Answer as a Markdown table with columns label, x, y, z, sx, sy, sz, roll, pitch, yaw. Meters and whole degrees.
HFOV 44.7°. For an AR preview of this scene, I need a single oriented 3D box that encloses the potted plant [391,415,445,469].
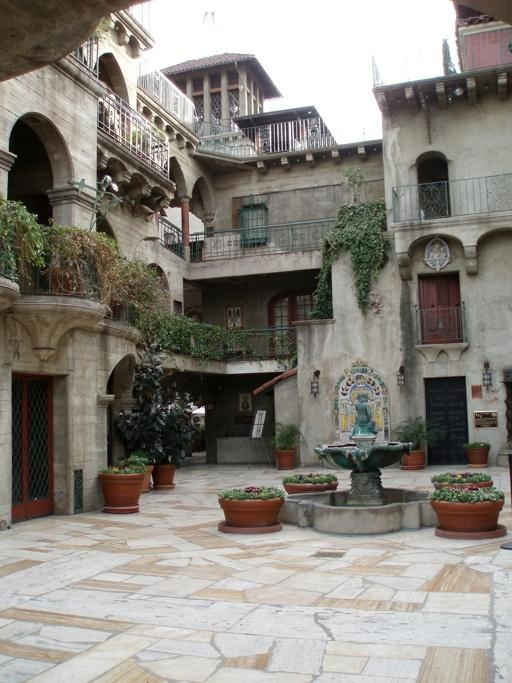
| label | x | y | z | sx | sy | sz | roll | pitch | yaw |
| --- | --- | --- | --- | --- | --- | --- | --- | --- | --- |
| potted plant | 4.687 | 2.872 | 17.748 | 1.357 | 1.396 | 0.937 | -4 | -5 | 11 |

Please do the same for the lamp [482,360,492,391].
| label | x | y | z | sx | sy | sz | roll | pitch | yaw |
| --- | --- | --- | --- | --- | --- | --- | --- | --- | --- |
| lamp | 6.537 | 0.971 | 17.643 | 0.283 | 0.834 | 0.169 | -4 | -6 | 18 |

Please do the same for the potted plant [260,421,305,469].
| label | x | y | z | sx | sy | sz | roll | pitch | yaw |
| --- | --- | --- | --- | --- | --- | --- | --- | --- | --- |
| potted plant | 0.931 | 3.213 | 19.206 | 1.020 | 1.207 | 0.937 | 1 | -15 | 10 |

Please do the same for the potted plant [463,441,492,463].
| label | x | y | z | sx | sy | sz | roll | pitch | yaw |
| --- | --- | --- | --- | --- | --- | --- | --- | --- | --- |
| potted plant | 6.112 | 3.061 | 17.189 | 0.635 | 0.558 | 0.601 | 1 | -15 | 2 |

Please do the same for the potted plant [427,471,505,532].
| label | x | y | z | sx | sy | sz | roll | pitch | yaw |
| --- | --- | --- | --- | --- | --- | --- | --- | --- | --- |
| potted plant | 2.873 | 2.196 | 8.684 | 0.912 | 0.531 | 0.949 | 1 | -10 | -5 |

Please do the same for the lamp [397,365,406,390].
| label | x | y | z | sx | sy | sz | roll | pitch | yaw |
| --- | --- | --- | --- | --- | --- | --- | --- | --- | --- |
| lamp | 4.272 | 1.036 | 18.319 | 0.265 | 0.689 | 0.168 | -4 | -5 | 11 |

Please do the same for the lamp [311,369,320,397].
| label | x | y | z | sx | sy | sz | roll | pitch | yaw |
| --- | --- | --- | --- | --- | --- | --- | --- | --- | --- |
| lamp | 1.812 | 1.273 | 19.063 | 0.334 | 0.859 | 0.272 | -3 | -5 | 4 |
